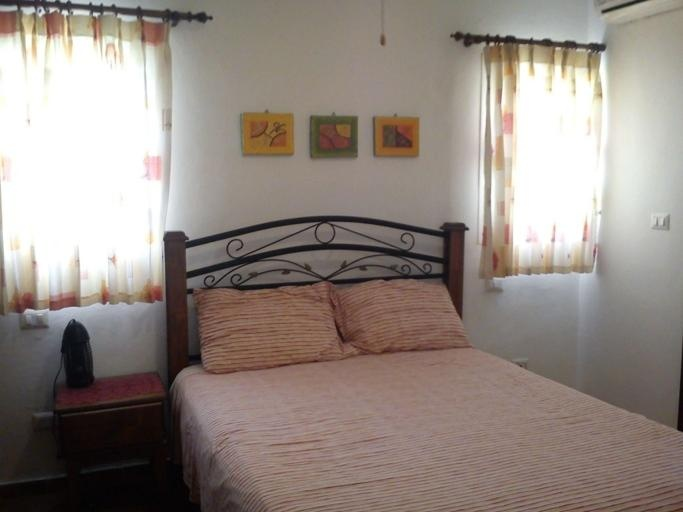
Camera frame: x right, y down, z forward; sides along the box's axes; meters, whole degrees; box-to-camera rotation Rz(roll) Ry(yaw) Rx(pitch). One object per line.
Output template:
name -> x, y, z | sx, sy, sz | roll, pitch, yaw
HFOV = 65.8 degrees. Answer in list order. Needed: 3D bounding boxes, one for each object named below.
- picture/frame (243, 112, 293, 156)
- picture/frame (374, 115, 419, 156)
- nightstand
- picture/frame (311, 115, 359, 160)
picture/frame -> -0.476, -0.778, 3.332 | 0.250, 0.230, 0.035 | 0, 4, -17
picture/frame -> 0.352, -0.817, 3.562 | 0.248, 0.225, 0.020 | 0, 4, -13
nightstand -> -1.260, 0.924, 3.117 | 0.664, 0.742, 0.610 | -4, 13, -18
picture/frame -> -0.059, -0.783, 3.451 | 0.268, 0.256, 0.029 | 0, 4, -14
